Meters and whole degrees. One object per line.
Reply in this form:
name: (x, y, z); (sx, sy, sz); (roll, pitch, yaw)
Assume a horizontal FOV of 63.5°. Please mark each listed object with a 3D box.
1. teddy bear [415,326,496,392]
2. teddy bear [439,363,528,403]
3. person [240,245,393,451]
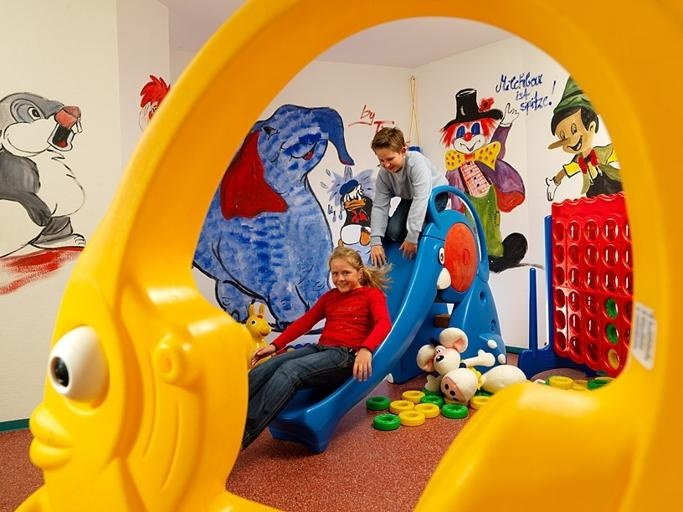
teddy bear: (0.534, 0.499, 2.614); (0.335, 0.400, 0.168); (1, 14, 22)
teddy bear: (0.625, 0.568, 2.445); (0.316, 0.150, 0.259); (-3, 2, -35)
person: (-0.064, 0.274, 2.156); (0.782, 0.610, 0.570); (-3, 2, -24)
